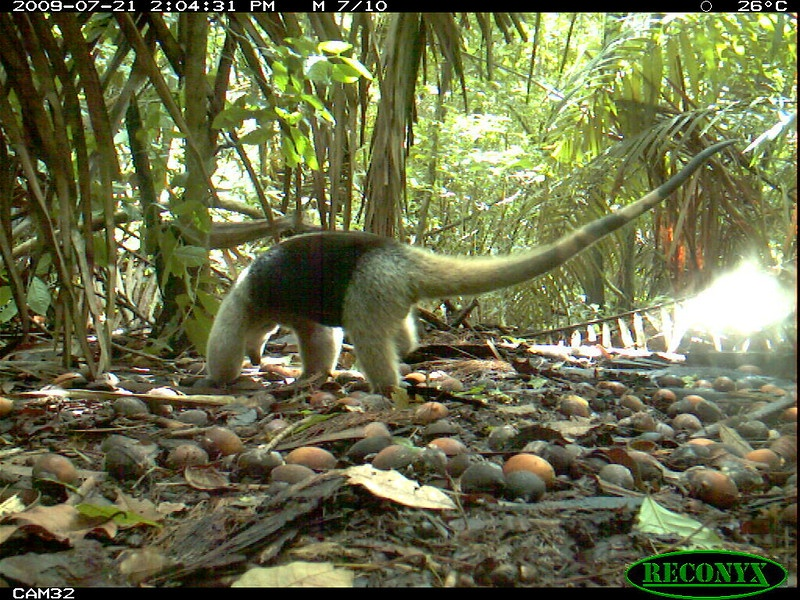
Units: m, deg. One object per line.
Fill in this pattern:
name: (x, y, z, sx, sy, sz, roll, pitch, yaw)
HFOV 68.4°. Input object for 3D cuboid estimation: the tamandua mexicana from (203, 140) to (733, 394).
tamandua mexicana: (-0.071, 0.007, 3.304, 2.155, 1.044, 0.653, 5, 9, 16)
